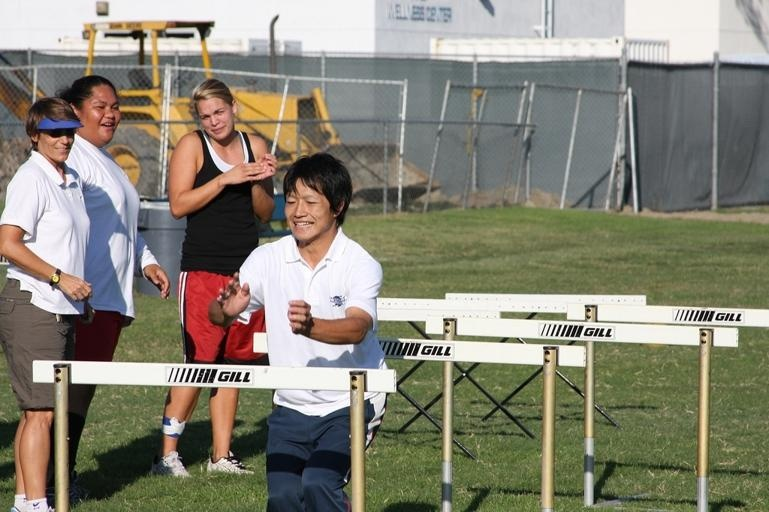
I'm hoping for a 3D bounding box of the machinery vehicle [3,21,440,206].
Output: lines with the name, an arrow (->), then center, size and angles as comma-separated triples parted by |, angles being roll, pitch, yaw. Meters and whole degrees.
machinery vehicle -> -3.691, -3.163, 35.237 | 8.280, 3.916, 4.537 | 2, 7, 6
